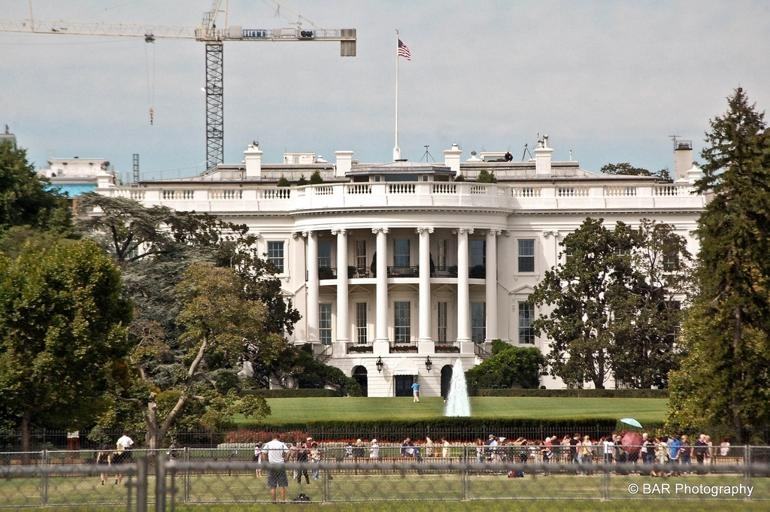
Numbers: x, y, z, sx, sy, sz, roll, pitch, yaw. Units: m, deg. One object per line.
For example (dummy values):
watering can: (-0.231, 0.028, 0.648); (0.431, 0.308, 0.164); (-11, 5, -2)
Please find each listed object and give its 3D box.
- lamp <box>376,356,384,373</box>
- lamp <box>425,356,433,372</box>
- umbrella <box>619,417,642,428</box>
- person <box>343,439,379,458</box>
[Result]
lamp: (-0.293, 6.028, 115.144); (0.329, 0.871, 0.464); (-1, -4, 19)
lamp: (2.422, 5.956, 114.971); (0.363, 0.912, 0.533); (-1, -4, 12)
umbrella: (10.399, 7.037, 87.498); (0.609, 0.238, 0.585); (18, -7, -33)
person: (-0.918, 7.677, 81.879); (1.472, 0.550, 1.560); (4, -8, -41)
